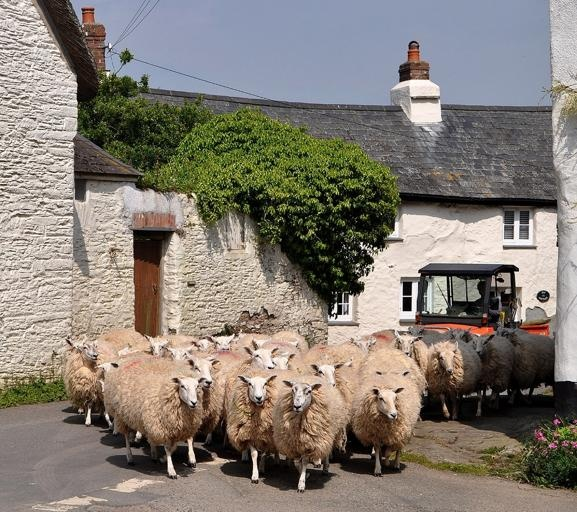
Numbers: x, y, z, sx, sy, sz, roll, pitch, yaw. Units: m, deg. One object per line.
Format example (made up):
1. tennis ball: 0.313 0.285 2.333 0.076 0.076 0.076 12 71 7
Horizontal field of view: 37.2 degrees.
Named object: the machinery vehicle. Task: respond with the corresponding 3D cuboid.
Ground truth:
1. machinery vehicle: 4.506 1.325 20.394 2.147 2.161 3.706 -1 -2 36
